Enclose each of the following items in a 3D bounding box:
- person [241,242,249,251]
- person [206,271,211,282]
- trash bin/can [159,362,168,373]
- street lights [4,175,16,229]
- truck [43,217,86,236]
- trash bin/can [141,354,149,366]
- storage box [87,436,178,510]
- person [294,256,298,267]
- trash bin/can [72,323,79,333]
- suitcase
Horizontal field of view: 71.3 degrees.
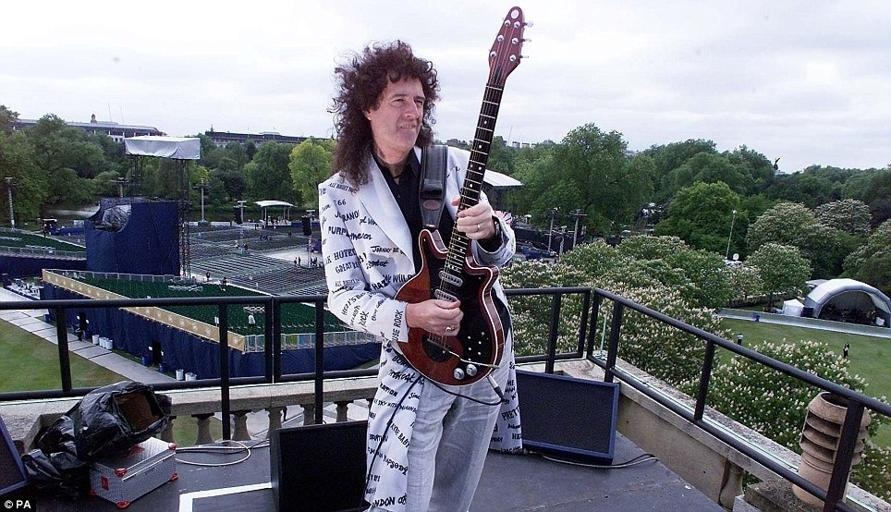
[{"bbox_3d":[-19.297,-0.890,60.382,0.812,0.375,1.089,0,16,-19],"label":"person"},{"bbox_3d":[-18.441,1.650,48.528,0.415,0.695,0.195,1,10,25],"label":"person"},{"bbox_3d":[-15.262,6.170,34.086,0.482,0.508,0.488,11,12,39],"label":"trash bin/can"},{"bbox_3d":[-41.902,-5.502,60.188,0.631,5.386,0.948,-4,15,-20],"label":"street lights"},{"bbox_3d":[-39.118,-3.008,64.162,3.299,1.818,3.240,-5,9,-31],"label":"truck"},{"bbox_3d":[-16.351,5.787,34.211,0.507,0.510,0.478,5,2,28],"label":"trash bin/can"},{"bbox_3d":[-7.781,5.507,15.643,1.648,1.067,2.137,3,9,23],"label":"storage box"},{"bbox_3d":[-13.183,0.506,55.267,0.497,0.924,0.270,0,-1,28],"label":"person"},{"bbox_3d":[-22.315,4.407,37.707,0.603,0.661,0.611,2,-4,-26],"label":"trash bin/can"},{"bbox_3d":[-7.786,5.463,15.688,1.648,1.065,2.142,3,10,25],"label":"suitcase"}]
